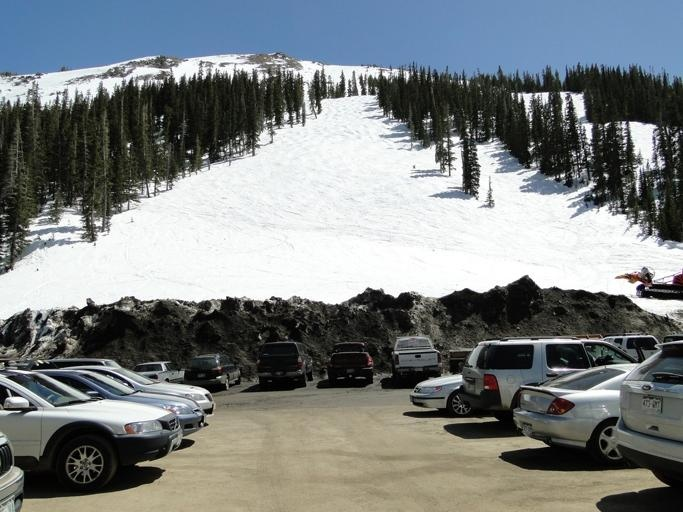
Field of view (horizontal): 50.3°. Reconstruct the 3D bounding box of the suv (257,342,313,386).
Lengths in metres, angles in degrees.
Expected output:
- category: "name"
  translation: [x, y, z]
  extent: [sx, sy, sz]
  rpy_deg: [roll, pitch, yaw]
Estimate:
- category: "suv"
  translation: [-2.684, 5.027, 34.164]
  extent: [2.170, 2.494, 2.437]
  rpy_deg: [1, 6, 1]
